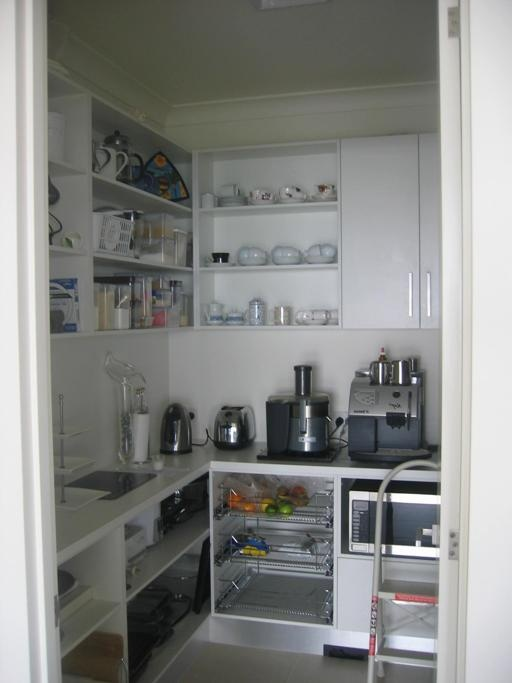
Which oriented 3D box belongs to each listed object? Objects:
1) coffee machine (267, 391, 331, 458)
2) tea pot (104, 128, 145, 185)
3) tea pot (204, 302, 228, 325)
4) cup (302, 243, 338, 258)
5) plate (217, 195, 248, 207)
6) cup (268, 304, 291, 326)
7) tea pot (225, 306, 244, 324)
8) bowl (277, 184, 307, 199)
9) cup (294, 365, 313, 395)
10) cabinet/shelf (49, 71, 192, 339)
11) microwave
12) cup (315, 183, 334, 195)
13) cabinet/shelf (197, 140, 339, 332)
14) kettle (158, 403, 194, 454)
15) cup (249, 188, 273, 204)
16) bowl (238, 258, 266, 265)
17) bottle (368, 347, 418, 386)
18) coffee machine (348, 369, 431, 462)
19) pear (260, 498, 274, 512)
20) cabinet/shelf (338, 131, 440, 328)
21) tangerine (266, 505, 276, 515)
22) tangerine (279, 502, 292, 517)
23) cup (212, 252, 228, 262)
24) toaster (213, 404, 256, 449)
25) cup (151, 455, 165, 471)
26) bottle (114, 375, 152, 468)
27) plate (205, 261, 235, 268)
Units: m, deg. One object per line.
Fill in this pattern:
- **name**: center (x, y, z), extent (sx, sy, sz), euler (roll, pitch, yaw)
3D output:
- **coffee machine**: center (0.192, 0.379, 2.913), extent (0.299, 0.245, 0.244), euler (-1, -1, 40)
- **tea pot**: center (-0.517, -0.726, 2.564), extent (0.095, 0.273, 0.211), euler (-24, 43, -35)
- **tea pot**: center (-0.214, -0.139, 3.162), extent (0.122, 0.126, 0.092), euler (-1, 2, 19)
- **cup**: center (0.312, -0.429, 2.998), extent (0.104, 0.063, 0.080), euler (1, 3, 9)
- **plate**: center (-0.123, -0.707, 3.161), extent (0.152, 0.078, 0.146), euler (-1, 1, -1)
- **cup**: center (0.116, -0.120, 3.146), extent (0.116, 0.107, 0.073), euler (2, 4, 11)
- **tea pot**: center (-0.110, -0.133, 3.172), extent (0.087, 0.074, 0.086), euler (0, -1, 0)
- **bowl**: center (0.174, -0.714, 3.003), extent (0.126, 0.079, 0.053), euler (-1, 1, 3)
- **cup**: center (0.217, 0.182, 2.969), extent (0.121, 0.177, 0.121), euler (0, 2, 0)
- **cabinet/shelf**: center (-0.584, -0.483, 2.733), extent (0.304, 0.875, 1.046), euler (3, 5, 14)
- **microwave**: center (0.570, 0.745, 2.612), extent (0.437, 0.261, 0.234), euler (3, -4, -5)
- **cup**: center (0.327, -0.730, 2.993), extent (0.067, 0.040, 0.075), euler (0, 13, 3)
- **cabinet/shelf**: center (0.078, -0.536, 3.134), extent (0.996, 1.169, 0.322), euler (0, 2, 14)
- **kettle**: center (-0.380, 0.430, 3.103), extent (0.156, 0.247, 0.253), euler (-1, -5, 11)
- **cup**: center (0.024, -0.706, 3.046), extent (0.091, 0.066, 0.070), euler (3, 8, 33)
- **bowl**: center (-0.021, -0.395, 3.079), extent (0.136, 0.046, 0.068), euler (-1, 1, -2)
- **bottle**: center (0.620, 0.129, 2.829), extent (0.183, 0.132, 0.131), euler (-1, 1, 35)
- **coffee machine**: center (0.574, 0.324, 2.814), extent (0.387, 0.399, 0.352), euler (-1, -1, 11)
- **pear**: center (0.045, 0.735, 2.807), extent (0.053, 0.060, 0.051), euler (1, -7, -30)
- **cabinet/shelf**: center (0.634, -0.497, 2.999), extent (0.519, 0.883, 0.335), euler (-6, 14, -5)
- **tangerine**: center (0.066, 0.752, 2.782), extent (0.032, 0.034, 0.031), euler (-2, 2, -1)
- **tangerine**: center (0.132, 0.744, 2.762), extent (0.048, 0.054, 0.047), euler (-3, 7, -10)
- **cup**: center (-0.180, -0.419, 3.117), extent (0.056, 0.031, 0.054), euler (0, 4, 0)
- **toaster**: center (-0.109, 0.428, 3.156), extent (0.169, 0.196, 0.295), euler (-1, 1, 13)
- **cup**: center (-0.420, 0.518, 2.666), extent (0.058, 0.050, 0.057), euler (1, 1, 0)
- **bottle**: center (-0.558, 0.338, 2.814), extent (0.126, 0.393, 0.294), euler (-2, 1, -13)
- **plate**: center (-0.184, -0.384, 3.129), extent (0.139, 0.049, 0.124), euler (-1, 1, -6)
